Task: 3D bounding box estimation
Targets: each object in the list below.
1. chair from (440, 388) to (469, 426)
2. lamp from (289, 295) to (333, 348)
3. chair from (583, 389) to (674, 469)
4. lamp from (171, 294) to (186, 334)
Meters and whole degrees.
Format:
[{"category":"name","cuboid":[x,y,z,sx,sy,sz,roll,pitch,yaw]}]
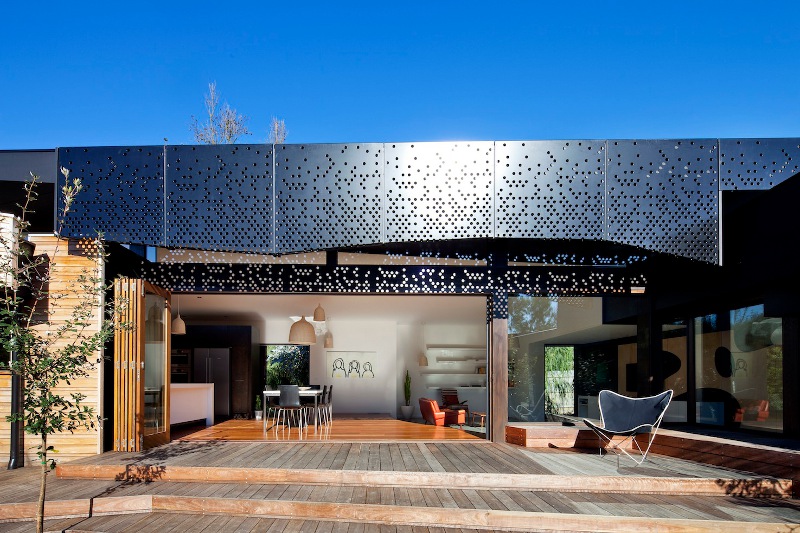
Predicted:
[{"category":"chair","cuboid":[1.711,4.397,22.512,0.654,1.063,0.752,1,-18,-7]},{"category":"lamp","cuboid":[-2.541,1.845,20.277,0.841,1.818,2.443,1,-17,1]},{"category":"chair","cuboid":[5.152,3.429,15.632,1.674,1.675,1.620,-7,-18,34]},{"category":"lamp","cuboid":[-6.383,1.500,20.359,0.333,0.841,2.131,3,-10,-18]}]
